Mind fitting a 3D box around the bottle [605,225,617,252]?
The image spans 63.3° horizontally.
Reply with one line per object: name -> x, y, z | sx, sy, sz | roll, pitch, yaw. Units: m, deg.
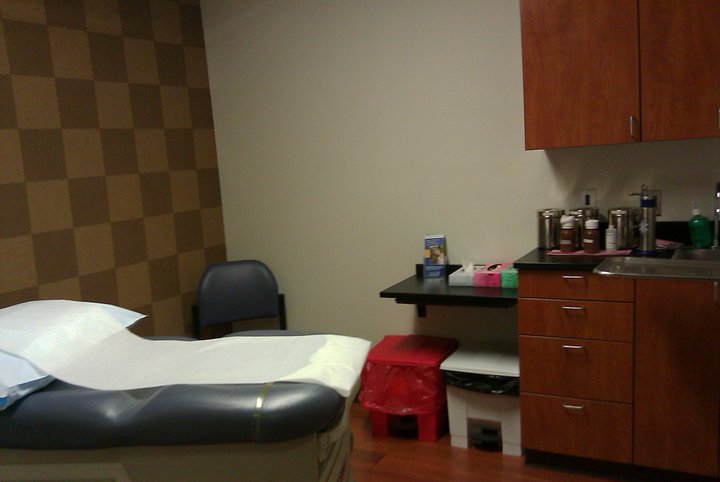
bottle -> 1.446, -0.011, 3.369 | 0.064, 0.151, 0.084 | 5, 9, 34

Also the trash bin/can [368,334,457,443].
trash bin/can -> 0.332, 0.993, 3.966 | 0.630, 0.553, 0.630 | -1, -2, 12

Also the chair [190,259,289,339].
chair -> -0.864, 0.363, 4.395 | 0.551, 0.917, 0.600 | -2, 4, -13

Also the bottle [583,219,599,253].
bottle -> 1.338, -0.026, 3.390 | 0.084, 0.188, 0.102 | 3, 8, 22

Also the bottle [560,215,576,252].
bottle -> 1.211, -0.038, 3.416 | 0.083, 0.211, 0.062 | 1, 8, 11

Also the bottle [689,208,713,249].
bottle -> 1.939, -0.072, 3.330 | 0.130, 0.214, 0.184 | 4, 9, 29

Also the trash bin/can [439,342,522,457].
trash bin/can -> 0.772, 0.934, 3.703 | 0.625, 0.549, 0.522 | -1, -2, 21
